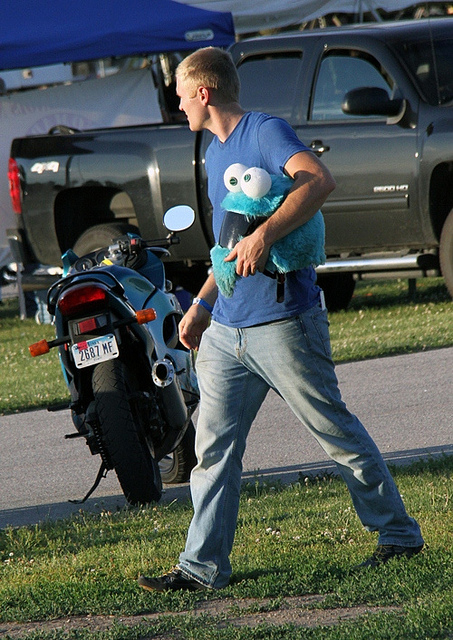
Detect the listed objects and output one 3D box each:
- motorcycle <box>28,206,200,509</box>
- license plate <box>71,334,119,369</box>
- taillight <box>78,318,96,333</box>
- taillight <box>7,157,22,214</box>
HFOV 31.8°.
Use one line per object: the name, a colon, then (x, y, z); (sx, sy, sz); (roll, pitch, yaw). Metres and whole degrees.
motorcycle: (-0.560, 0.268, 4.276); (0.607, 1.524, 0.903); (-9, 1, 13)
license plate: (-0.651, 0.152, 3.923); (0.222, 0.164, 0.030); (-8, 2, 7)
taillight: (-0.685, 0.026, 3.908); (0.084, 0.069, 0.012); (-8, 2, 7)
taillight: (-2.323, -1.457, 8.684); (0.070, 0.631, 0.260); (-10, 2, -32)
